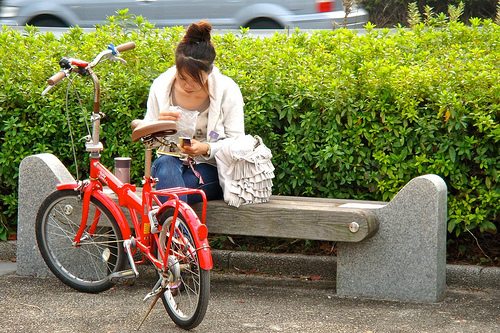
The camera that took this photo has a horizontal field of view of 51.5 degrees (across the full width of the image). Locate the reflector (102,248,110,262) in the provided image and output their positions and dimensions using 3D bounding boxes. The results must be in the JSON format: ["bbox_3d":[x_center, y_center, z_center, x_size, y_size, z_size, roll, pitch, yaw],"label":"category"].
[{"bbox_3d":[-1.396,0.868,5.087,0.085,0.110,0.026,2,-8,34],"label":"reflector"}]

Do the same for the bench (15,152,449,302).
[{"bbox_3d":[-0.295,0.567,5.612,4.380,1.226,0.673,1,18,18],"label":"bench"}]

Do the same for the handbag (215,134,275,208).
[{"bbox_3d":[-0.047,-0.012,5.246,0.444,0.542,0.591,14,26,28],"label":"handbag"}]

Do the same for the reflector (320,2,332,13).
[{"bbox_3d":[1.456,-3.091,10.052,0.206,0.139,0.028,-1,14,3],"label":"reflector"}]

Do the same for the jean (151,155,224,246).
[{"bbox_3d":[-0.651,0.275,5.036,0.239,0.722,0.775,-5,0,41],"label":"jean"}]

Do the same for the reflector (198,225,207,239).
[{"bbox_3d":[-0.387,0.541,4.246,0.092,0.088,0.022,20,-14,-40],"label":"reflector"}]

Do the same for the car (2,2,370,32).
[{"bbox_3d":[-1.512,-3.050,10.464,6.689,0.634,0.833,1,9,4],"label":"car"}]
